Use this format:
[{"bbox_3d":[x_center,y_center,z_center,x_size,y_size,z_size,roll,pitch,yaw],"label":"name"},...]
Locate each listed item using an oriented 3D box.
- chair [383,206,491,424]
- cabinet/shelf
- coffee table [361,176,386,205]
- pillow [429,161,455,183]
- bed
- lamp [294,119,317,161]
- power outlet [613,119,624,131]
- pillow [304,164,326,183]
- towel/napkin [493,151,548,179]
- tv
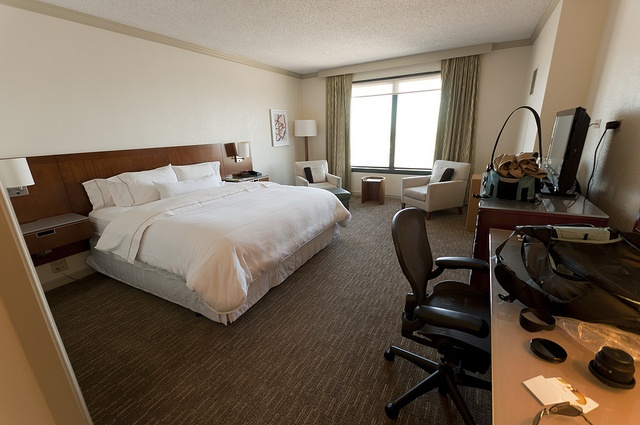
[{"bbox_3d":[0.967,0.840,3.047,0.874,1.666,0.777,6,18,25],"label":"chair"},{"bbox_3d":[2.062,-0.032,3.728,0.833,0.816,1.664,4,18,16],"label":"cabinet/shelf"},{"bbox_3d":[1.036,-0.450,7.402,0.533,0.619,0.529,3,17,21],"label":"coffee table"},{"bbox_3d":[2.093,-0.697,6.424,0.114,0.376,0.360,19,-2,-37],"label":"pillow"},{"bbox_3d":[-1.440,0.330,4.145,1.784,0.607,1.931,6,16,27],"label":"bed"},{"bbox_3d":[-0.304,-1.519,7.954,0.488,0.879,0.612,-2,16,-1],"label":"lamp"},{"bbox_3d":[2.800,-0.811,3.490,0.026,0.111,0.075,11,13,4],"label":"power outlet"},{"bbox_3d":[-0.098,-0.711,7.043,0.447,0.305,0.238,-6,16,-14],"label":"pillow"},{"bbox_3d":[1.935,-0.441,3.588,0.328,0.122,0.323,-7,20,-15],"label":"towel/napkin"},{"bbox_3d":[2.528,-0.591,3.805,0.288,0.841,0.892,10,25,20],"label":"tv"}]
